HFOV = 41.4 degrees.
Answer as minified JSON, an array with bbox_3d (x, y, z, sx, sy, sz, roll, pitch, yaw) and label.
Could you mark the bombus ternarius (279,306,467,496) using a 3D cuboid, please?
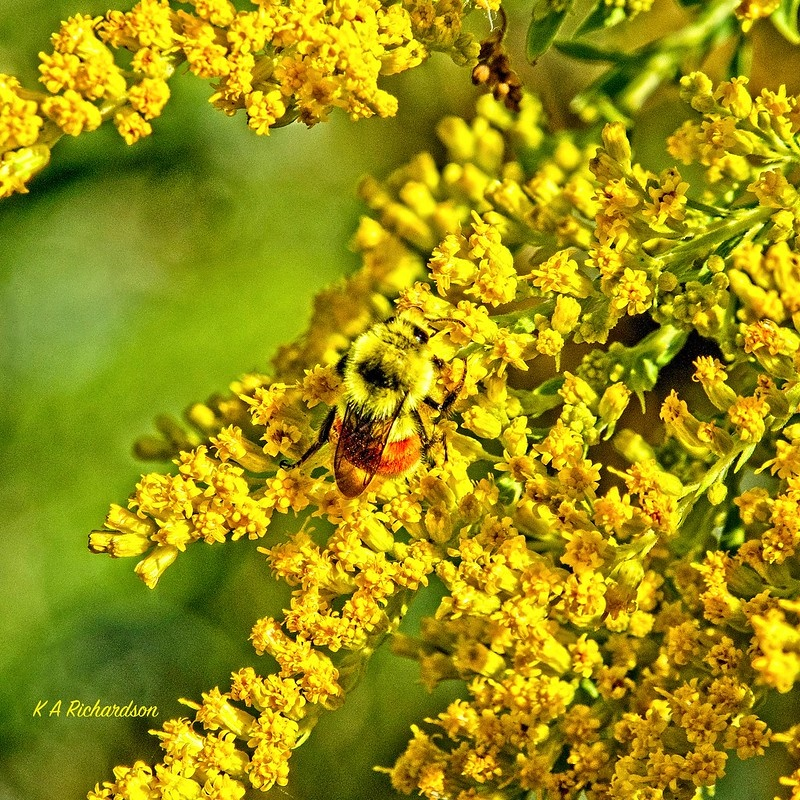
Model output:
[{"bbox_3d":[-0.046,0.018,1.771,0.256,0.098,0.297,8,68,25],"label":"bombus ternarius"}]
